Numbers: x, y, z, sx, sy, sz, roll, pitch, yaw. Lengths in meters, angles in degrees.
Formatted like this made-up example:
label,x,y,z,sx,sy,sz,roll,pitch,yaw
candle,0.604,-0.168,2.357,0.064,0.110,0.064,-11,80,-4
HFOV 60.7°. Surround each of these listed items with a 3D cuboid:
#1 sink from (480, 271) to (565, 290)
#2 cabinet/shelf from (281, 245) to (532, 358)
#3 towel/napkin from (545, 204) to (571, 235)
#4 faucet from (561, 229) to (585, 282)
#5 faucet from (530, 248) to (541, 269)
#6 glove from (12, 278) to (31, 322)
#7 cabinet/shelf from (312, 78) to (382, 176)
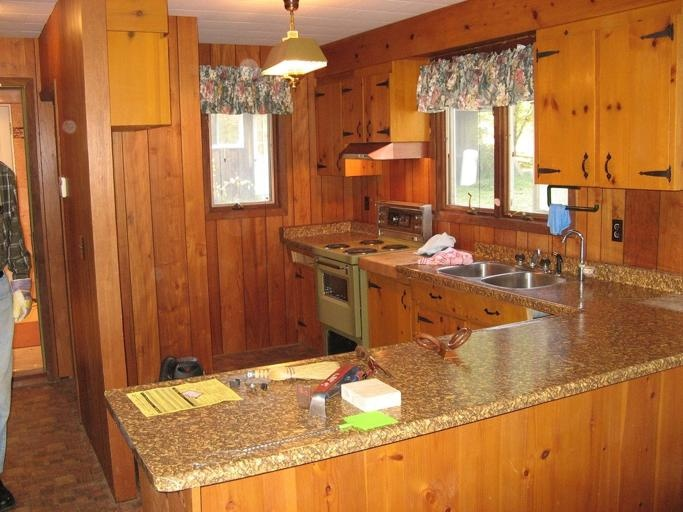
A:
label,x,y,z,sx,sy,sz,roll,pitch,yaw
sink,1.171,0.167,3.789,0.492,0.118,0.272,1,12,18
cabinet/shelf,0.450,0.406,4.220,0.251,0.718,2.182,-9,13,-30
towel/napkin,1.342,-0.228,3.639,0.151,0.182,0.057,8,9,33
faucet,1.448,-0.025,3.652,0.142,0.305,0.318,2,12,21
faucet,1.285,0.009,3.875,0.066,0.128,0.140,1,12,19
glove,-1.813,0.249,3.318,0.108,0.246,0.124,-8,12,-28
cabinet/shelf,0.069,-1.153,5.163,0.305,0.819,0.861,-5,11,-27
